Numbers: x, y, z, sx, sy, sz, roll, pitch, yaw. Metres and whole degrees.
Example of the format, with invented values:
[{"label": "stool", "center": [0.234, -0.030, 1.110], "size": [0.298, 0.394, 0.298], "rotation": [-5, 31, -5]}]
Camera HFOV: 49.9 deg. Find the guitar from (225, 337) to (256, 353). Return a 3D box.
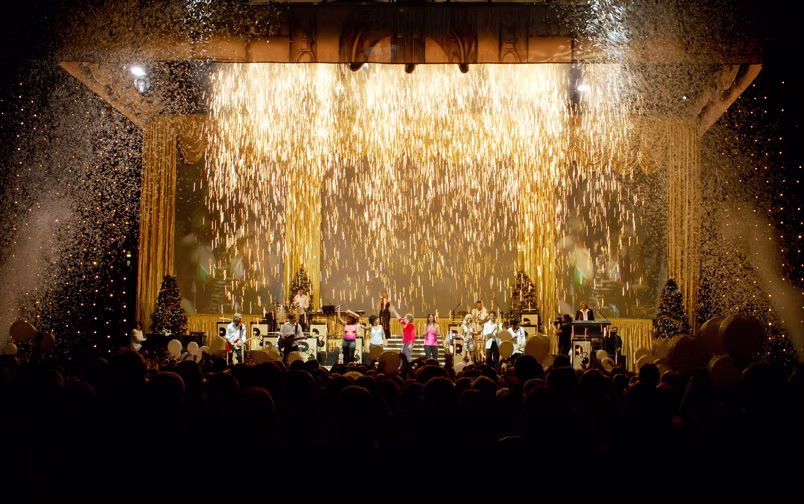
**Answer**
[{"label": "guitar", "center": [-4.161, 2.345, 22.046], "size": [0.593, 0.195, 0.253], "rotation": [5, -68, -11]}]
